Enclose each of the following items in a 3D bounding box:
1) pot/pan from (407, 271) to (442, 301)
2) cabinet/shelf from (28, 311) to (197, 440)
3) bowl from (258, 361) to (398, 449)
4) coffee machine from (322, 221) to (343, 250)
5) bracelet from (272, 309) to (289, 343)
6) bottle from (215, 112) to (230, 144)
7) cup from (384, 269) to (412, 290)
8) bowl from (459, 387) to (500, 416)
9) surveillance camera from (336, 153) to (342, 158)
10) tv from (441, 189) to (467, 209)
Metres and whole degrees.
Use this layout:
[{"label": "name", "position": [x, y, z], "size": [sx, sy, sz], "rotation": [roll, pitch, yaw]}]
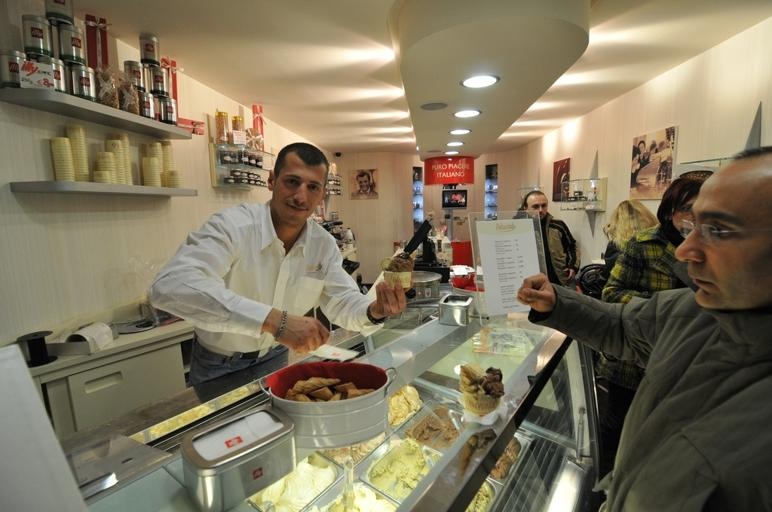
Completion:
[{"label": "pot/pan", "position": [0.272, 0.201, 3.066], "size": [0.215, 0.125, 0.211], "rotation": [-2, 5, -5]}, {"label": "cabinet/shelf", "position": [-1.985, 0.947, 3.318], "size": [0.568, 0.653, 1.122], "rotation": [2, 8, 31]}, {"label": "bowl", "position": [-0.232, 0.627, 1.973], "size": [0.539, 0.208, 0.507], "rotation": [7, -12, 2]}, {"label": "coffee machine", "position": [-0.795, -0.298, 6.912], "size": [0.475, 0.452, 0.169], "rotation": [2, 3, -22]}, {"label": "bracelet", "position": [-0.475, 0.323, 2.071], "size": [0.044, 0.115, 0.097], "rotation": [11, -24, -9]}, {"label": "bottle", "position": [-1.622, -1.271, 4.487], "size": [0.133, 0.294, 0.090], "rotation": [-5, 11, -19]}, {"label": "cup", "position": [0.057, 0.134, 2.586], "size": [0.128, 0.056, 0.107], "rotation": [-6, -9, 41]}, {"label": "bowl", "position": [0.385, 0.616, 1.932], "size": [0.126, 0.058, 0.107], "rotation": [2, -2, -24]}, {"label": "surveillance camera", "position": [-0.965, -2.018, 9.104], "size": [0.085, 0.020, 0.075], "rotation": [-2, -39, 0]}, {"label": "tv", "position": [1.412, -1.201, 9.490], "size": [0.669, 0.450, 0.371], "rotation": [1, 5, 2]}]
